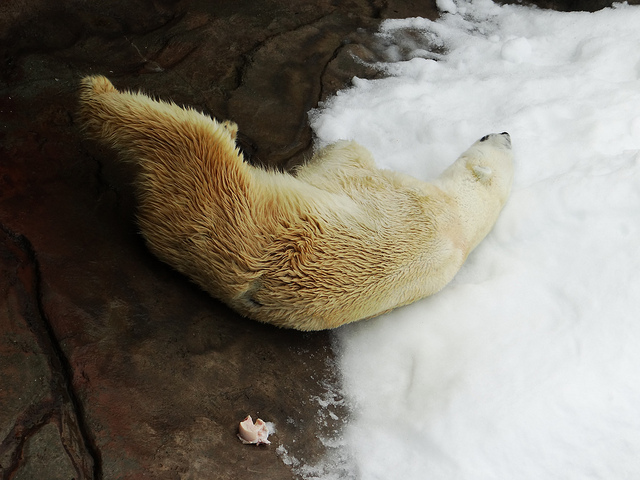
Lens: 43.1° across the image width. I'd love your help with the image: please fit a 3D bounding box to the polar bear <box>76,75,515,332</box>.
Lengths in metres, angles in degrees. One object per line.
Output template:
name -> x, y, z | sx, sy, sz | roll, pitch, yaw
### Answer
polar bear -> -0.116, -0.131, 4.771 | 2.366, 1.389, 1.248 | -3, 67, 9
